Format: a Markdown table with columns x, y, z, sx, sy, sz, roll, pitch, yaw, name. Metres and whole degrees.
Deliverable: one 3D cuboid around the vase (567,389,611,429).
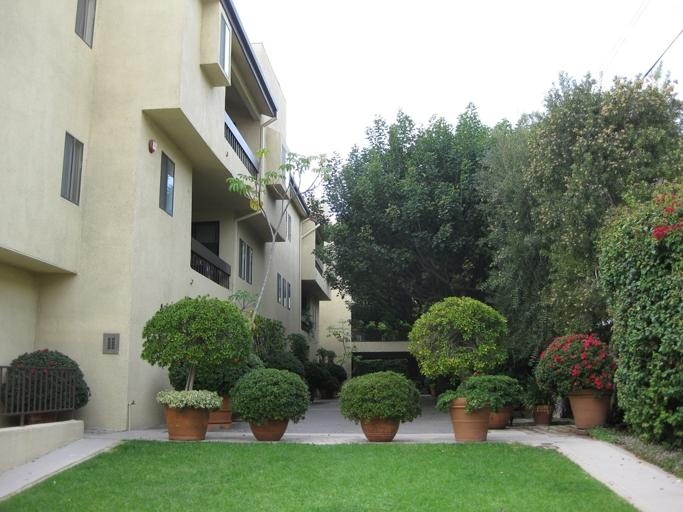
| x | y | z | sx | sy | sz | roll | pitch | yaw | name |
| --- | --- | --- | --- | --- | --- | --- | --- | --- | --- |
| 6.079 | 3.821 | 13.847 | 0.928 | 0.779 | 0.897 | 27 | -32 | -34 | vase |
